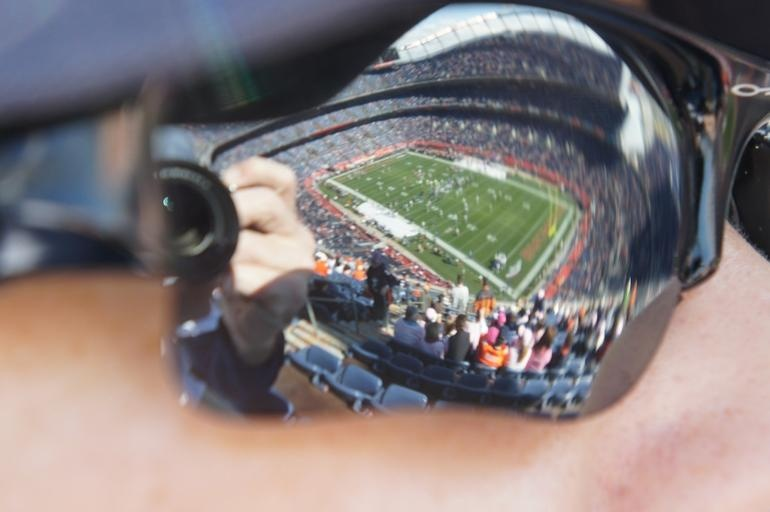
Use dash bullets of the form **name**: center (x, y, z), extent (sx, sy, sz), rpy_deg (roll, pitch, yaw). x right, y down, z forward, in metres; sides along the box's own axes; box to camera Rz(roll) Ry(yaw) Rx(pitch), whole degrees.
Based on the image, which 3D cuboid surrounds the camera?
- **camera**: center (-0.299, -0.033, 0.955), extent (0.207, 0.231, 0.203), rpy_deg (18, 94, -17)
